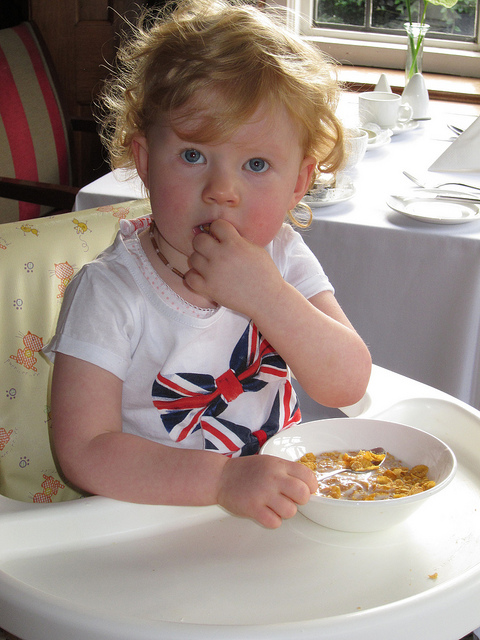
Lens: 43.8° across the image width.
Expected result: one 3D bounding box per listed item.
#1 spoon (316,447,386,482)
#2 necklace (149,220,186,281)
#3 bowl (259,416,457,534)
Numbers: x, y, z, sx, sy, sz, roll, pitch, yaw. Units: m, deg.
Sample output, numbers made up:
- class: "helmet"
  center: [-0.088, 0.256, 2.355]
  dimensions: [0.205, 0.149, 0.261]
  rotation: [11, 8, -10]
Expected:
- class: "spoon"
  center: [0.117, 0.143, 0.589]
  dimensions: [0.085, 0.020, 0.027]
  rotation: [-3, 6, -32]
- class: "necklace"
  center: [-0.089, -0.085, 0.706]
  dimensions: [0.040, 0.066, 0.051]
  rotation: [-13, 24, -34]
- class: "bowl"
  center: [0.115, 0.146, 0.568]
  dimensions: [0.156, 0.075, 0.176]
  rotation: [-2, 5, -22]
